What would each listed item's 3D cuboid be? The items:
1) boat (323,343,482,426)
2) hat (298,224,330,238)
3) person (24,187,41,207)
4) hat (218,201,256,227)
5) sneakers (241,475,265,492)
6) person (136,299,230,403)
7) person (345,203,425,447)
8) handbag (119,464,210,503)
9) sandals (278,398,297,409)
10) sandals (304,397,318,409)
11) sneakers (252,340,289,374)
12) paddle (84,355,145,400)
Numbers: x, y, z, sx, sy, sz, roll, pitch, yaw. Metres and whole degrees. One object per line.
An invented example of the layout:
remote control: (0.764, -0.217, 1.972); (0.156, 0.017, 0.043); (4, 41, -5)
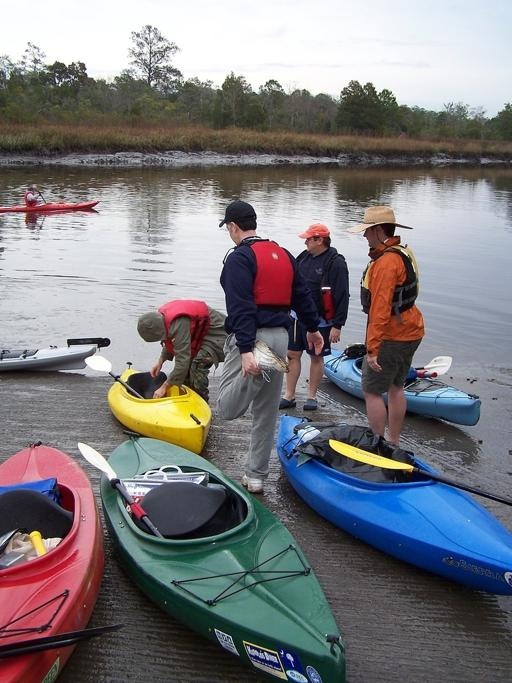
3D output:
boat: (1.366, 0.448, 5.769); (0.723, 0.335, 1.281); (-15, 20, -39)
hat: (0.500, -0.900, 5.176); (0.319, 0.138, 0.187); (2, 13, 6)
person: (-6.234, -4.016, 17.524); (0.379, 0.563, 1.970); (-5, 10, -17)
hat: (-0.094, -0.708, 3.525); (0.169, 0.157, 0.191); (-2, 11, -5)
sneakers: (-0.017, 0.877, 3.812); (0.069, 0.063, 0.148); (-4, 19, -24)
person: (-0.573, 0.121, 4.965); (0.723, 0.844, 0.565); (-21, 23, -37)
person: (0.870, -0.026, 4.101); (0.456, 1.674, 0.638); (1, 12, 9)
handbag: (-0.488, 0.747, 3.380); (0.293, 0.068, 0.205); (5, 9, 36)
sandals: (0.267, 0.546, 5.381); (0.180, 0.061, 0.067); (-2, 6, -35)
sandals: (0.475, 0.540, 5.406); (0.114, 0.076, 0.273); (-1, -3, 6)
sneakers: (0.068, 0.103, 3.246); (0.138, 0.090, 0.228); (-48, 47, -12)
paddle: (-1.290, 0.343, 5.645); (0.699, 0.066, 0.148); (25, 31, 36)
